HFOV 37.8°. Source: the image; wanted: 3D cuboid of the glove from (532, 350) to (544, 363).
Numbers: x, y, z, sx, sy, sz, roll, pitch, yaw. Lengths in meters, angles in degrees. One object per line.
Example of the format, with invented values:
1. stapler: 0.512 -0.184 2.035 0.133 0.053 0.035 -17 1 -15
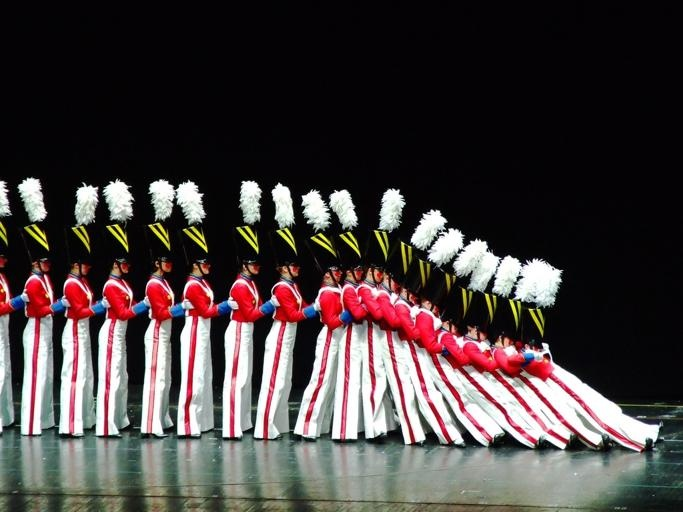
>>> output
1. glove: 2.004 1.025 10.230 0.110 0.089 0.102 0 4 4

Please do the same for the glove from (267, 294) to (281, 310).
1. glove: -0.735 0.499 10.821 0.103 0.132 0.049 -31 -1 26

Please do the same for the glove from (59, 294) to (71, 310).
1. glove: -3.100 0.514 11.115 0.113 0.113 0.140 -9 9 -15

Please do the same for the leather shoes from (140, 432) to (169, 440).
1. leather shoes: -2.044 1.943 10.867 0.293 0.105 0.093 -1 1 -1

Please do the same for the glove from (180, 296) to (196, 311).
1. glove: -1.693 0.527 10.948 0.141 0.115 0.109 16 2 36

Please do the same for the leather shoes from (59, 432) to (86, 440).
1. leather shoes: -2.979 1.937 10.904 0.317 0.064 0.113 0 5 12
